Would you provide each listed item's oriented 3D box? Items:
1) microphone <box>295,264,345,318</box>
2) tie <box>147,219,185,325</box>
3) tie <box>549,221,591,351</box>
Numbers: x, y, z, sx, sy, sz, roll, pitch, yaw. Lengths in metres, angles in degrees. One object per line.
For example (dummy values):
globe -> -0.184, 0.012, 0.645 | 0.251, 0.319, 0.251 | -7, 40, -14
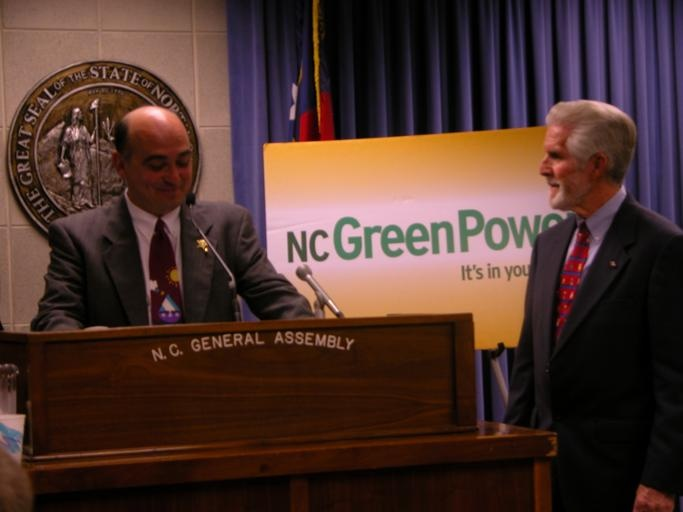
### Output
microphone -> -0.074, 0.133, 3.037 | 0.060, 0.155, 0.364 | 5, 28, -30
tie -> -0.588, 0.047, 2.506 | 0.106, 0.331, 0.184 | -3, 6, -15
tie -> 0.793, 0.064, 2.592 | 0.023, 0.583, 0.076 | 38, -37, -30
